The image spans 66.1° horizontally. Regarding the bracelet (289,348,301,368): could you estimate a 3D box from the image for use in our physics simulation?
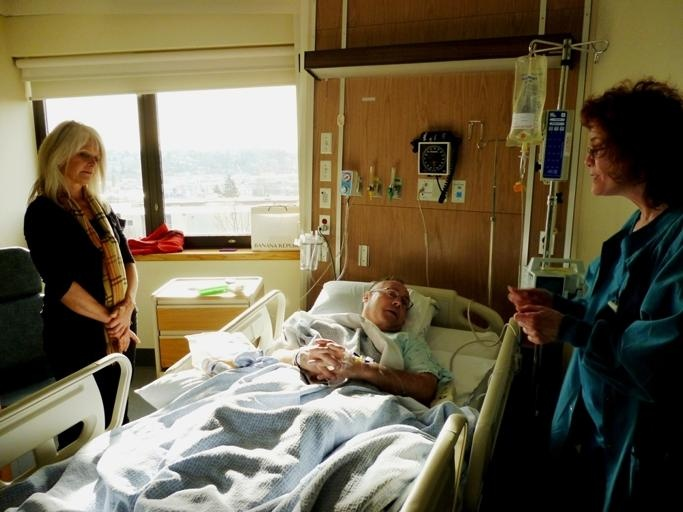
[{"bbox_3d":[-0.207,0.460,2.348,0.065,0.058,0.050,-29,40,-27],"label":"bracelet"}]

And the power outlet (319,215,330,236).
[{"bbox_3d":[-0.107,-0.202,3.473,0.078,0.132,0.035,-5,14,-6],"label":"power outlet"}]

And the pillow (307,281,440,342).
[{"bbox_3d":[0.175,0.255,2.906,0.415,0.129,0.370,7,21,13],"label":"pillow"}]

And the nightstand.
[{"bbox_3d":[-0.811,0.309,3.416,0.743,0.773,0.556,-2,6,-4],"label":"nightstand"}]

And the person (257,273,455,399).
[{"bbox_3d":[0.089,0.381,2.539,0.770,0.385,1.063,4,9,28],"label":"person"}]
